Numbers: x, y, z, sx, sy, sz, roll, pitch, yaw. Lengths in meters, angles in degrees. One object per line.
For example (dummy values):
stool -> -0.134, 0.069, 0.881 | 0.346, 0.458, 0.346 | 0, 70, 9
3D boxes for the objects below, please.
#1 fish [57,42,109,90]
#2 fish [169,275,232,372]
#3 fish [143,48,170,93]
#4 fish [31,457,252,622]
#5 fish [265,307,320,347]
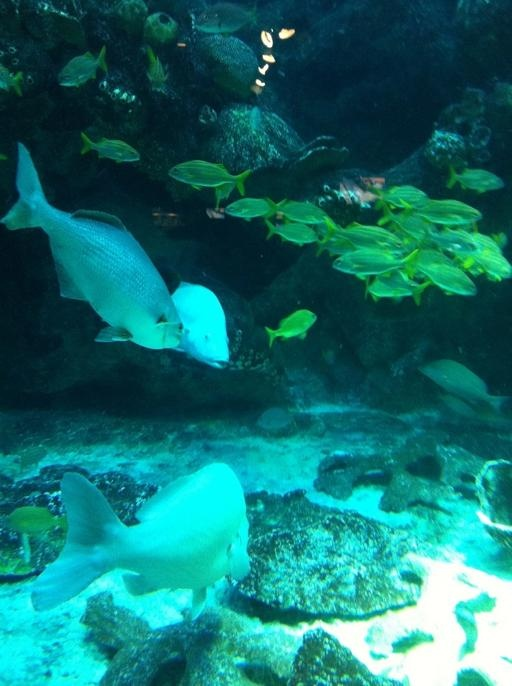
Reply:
fish -> -1.450, -2.347, 5.525 | 0.385, 0.415, 0.461 | 0, 6, -12
fish -> -0.393, -0.142, 4.744 | 0.485, 0.548, 0.278 | -26, 3, -19
fish -> -0.886, -2.409, 5.800 | 0.118, 0.348, 0.240 | 4, 6, 23
fish -> -0.571, 1.176, 3.894 | 1.534, 0.720, 0.833 | 14, -12, -39
fish -> 0.356, -0.167, 6.474 | 0.655, 0.306, 0.177 | -19, 21, -11
